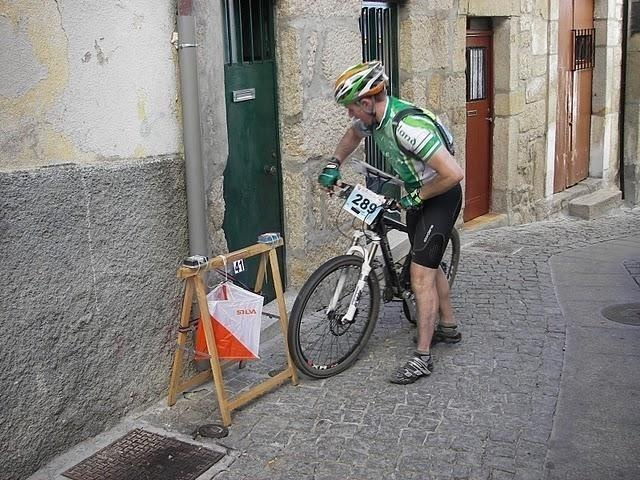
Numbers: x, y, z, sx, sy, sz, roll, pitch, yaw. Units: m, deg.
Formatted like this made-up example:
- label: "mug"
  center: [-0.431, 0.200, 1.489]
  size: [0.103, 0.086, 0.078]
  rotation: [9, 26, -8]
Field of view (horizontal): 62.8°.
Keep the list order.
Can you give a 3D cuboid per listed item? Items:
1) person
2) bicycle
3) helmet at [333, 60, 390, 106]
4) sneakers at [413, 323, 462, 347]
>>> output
- label: "person"
  center: [0.598, -0.161, 4.003]
  size: [0.960, 2.312, 0.816]
  rotation: [2, 14, 16]
- label: "bicycle"
  center: [0.752, 0.293, 4.195]
  size: [0.888, 1.288, 1.988]
  rotation: [11, 16, 43]
- label: "helmet"
  center: [0.294, -1.142, 3.765]
  size: [0.361, 0.165, 0.263]
  rotation: [-31, 37, -7]
- label: "sneakers"
  center: [1.018, 0.810, 4.461]
  size: [0.328, 0.172, 0.117]
  rotation: [1, 5, -3]
